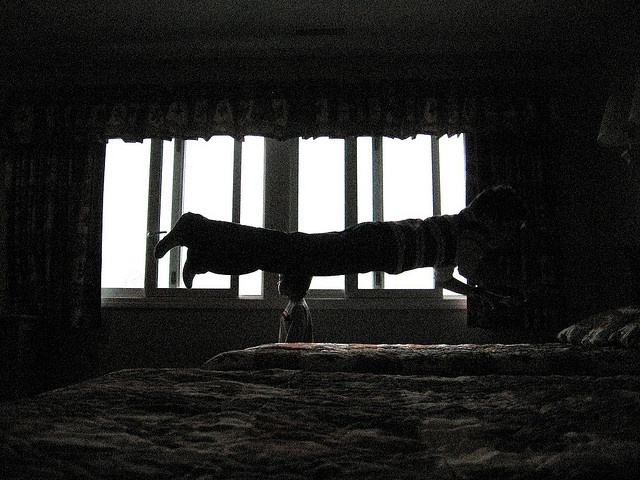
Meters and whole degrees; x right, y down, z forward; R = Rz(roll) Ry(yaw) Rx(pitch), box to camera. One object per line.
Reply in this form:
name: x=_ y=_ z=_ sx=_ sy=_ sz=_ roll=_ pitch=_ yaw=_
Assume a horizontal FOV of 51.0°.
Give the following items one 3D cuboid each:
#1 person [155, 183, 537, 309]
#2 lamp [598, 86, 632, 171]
person: x=0.055 y=0.048 z=1.515 sx=0.823 sy=0.284 sz=0.241 roll=-6 pitch=5 yaw=-6
lamp: x=0.601 y=-0.233 z=1.363 sx=0.070 sy=0.133 sz=0.064 roll=2 pitch=7 yaw=22
